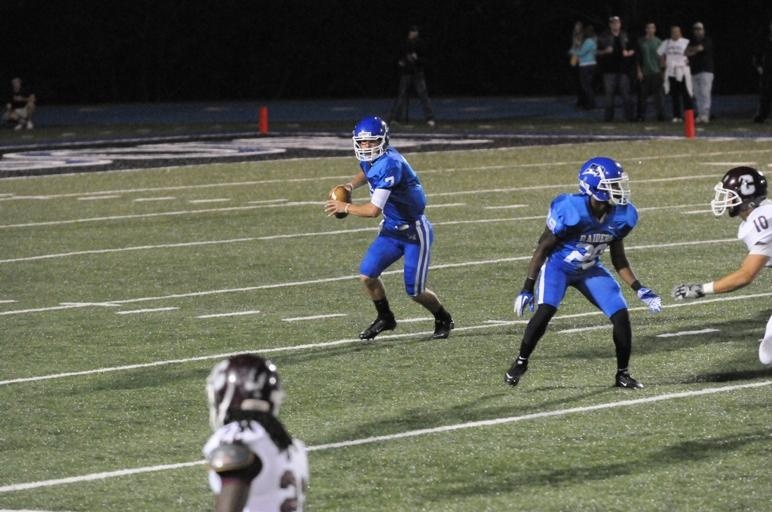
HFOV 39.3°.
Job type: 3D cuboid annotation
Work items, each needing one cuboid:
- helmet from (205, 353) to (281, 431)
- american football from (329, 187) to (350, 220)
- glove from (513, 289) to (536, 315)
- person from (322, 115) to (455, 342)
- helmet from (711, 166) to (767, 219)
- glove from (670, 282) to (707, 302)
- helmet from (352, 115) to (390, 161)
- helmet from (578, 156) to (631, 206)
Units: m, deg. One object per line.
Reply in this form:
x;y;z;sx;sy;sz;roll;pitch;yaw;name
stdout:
-0.661;0.721;5.787;0.524;0.373;0.356;8;-5;0;helmet
-0.457;-0.529;10.884;0.276;0.292;0.244;-1;-38;-8;american football
1.178;0.398;9.323;0.230;0.215;0.063;20;0;-7;glove
0.066;-0.287;10.860;1.099;2.223;0.977;-4;5;1;person
3.129;-0.579;9.589;0.686;0.404;0.462;2;11;13;helmet
2.567;0.322;9.236;0.314;0.095;0.173;5;31;8;glove
-0.159;-1.155;10.761;0.347;0.448;0.268;-3;5;7;helmet
1.834;-0.639;9.176;0.535;0.322;0.378;7;16;25;helmet
